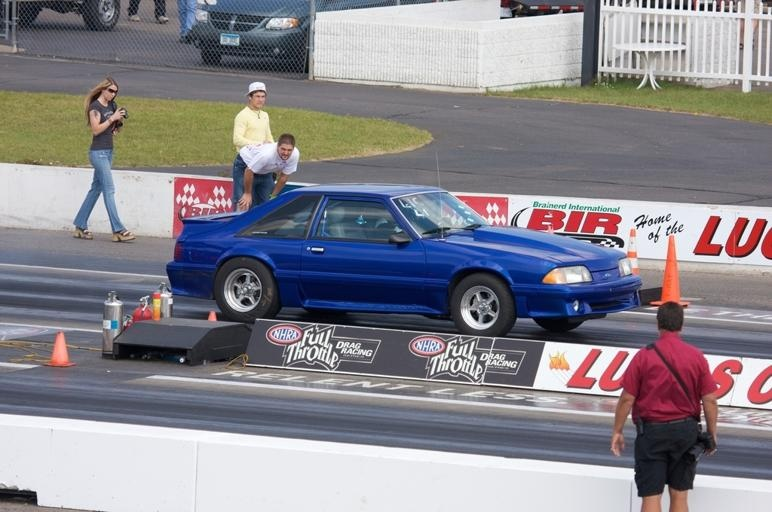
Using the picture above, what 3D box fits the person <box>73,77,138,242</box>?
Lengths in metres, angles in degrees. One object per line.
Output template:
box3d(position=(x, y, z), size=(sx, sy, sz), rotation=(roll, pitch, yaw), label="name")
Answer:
box3d(position=(-5.253, -1.789, 32.384), size=(1.190, 3.010, 1.105), rotation=(3, 0, 1), label="person")

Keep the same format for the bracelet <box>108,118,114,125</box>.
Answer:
box3d(position=(-5.020, -2.481, 31.899), size=(0.103, 0.103, 0.142), rotation=(0, 7, -14), label="bracelet")

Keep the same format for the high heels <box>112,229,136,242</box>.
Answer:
box3d(position=(-4.913, -0.375, 32.695), size=(0.468, 0.192, 0.163), rotation=(-2, 8, 1), label="high heels")

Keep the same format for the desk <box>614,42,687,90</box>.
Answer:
box3d(position=(6.606, -4.931, 44.127), size=(1.526, 0.843, 1.467), rotation=(-2, 7, -18), label="desk")

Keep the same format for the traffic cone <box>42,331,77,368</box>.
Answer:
box3d(position=(-4.861, 1.418, 26.526), size=(0.533, 0.571, 0.480), rotation=(3, 8, 8), label="traffic cone")

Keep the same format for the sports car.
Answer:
box3d(position=(-0.010, 0.009, 28.445), size=(6.645, 1.764, 2.804), rotation=(3, 6, 16), label="sports car")

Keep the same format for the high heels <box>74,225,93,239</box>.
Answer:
box3d(position=(-5.714, -0.422, 32.906), size=(0.445, 0.170, 0.159), rotation=(4, 7, 28), label="high heels")
